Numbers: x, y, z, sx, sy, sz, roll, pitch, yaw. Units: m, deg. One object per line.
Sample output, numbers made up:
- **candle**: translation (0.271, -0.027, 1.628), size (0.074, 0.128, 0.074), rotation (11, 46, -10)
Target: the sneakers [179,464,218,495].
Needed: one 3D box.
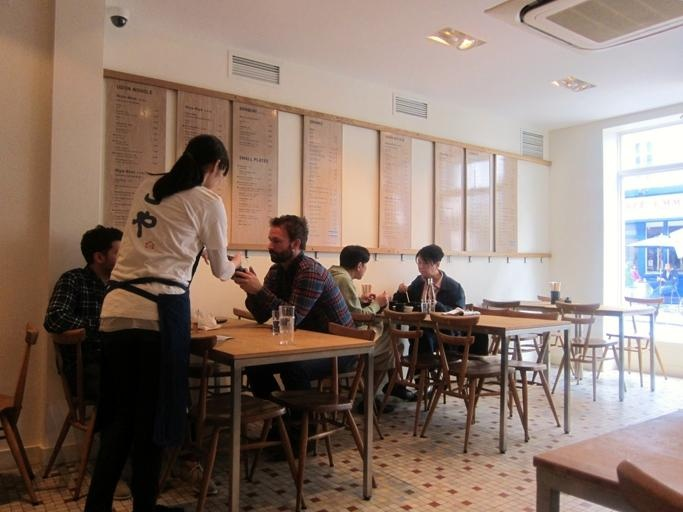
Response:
- **sneakers**: translation (-0.872, 1.382, 3.457), size (0.144, 0.159, 0.431), rotation (7, -9, -37)

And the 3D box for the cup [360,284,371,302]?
- **cup**: translation (0.231, 0.352, 5.120), size (0.119, 0.185, 0.122), rotation (-2, 1, 0)

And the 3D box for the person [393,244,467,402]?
- **person**: translation (0.908, 0.560, 5.490), size (0.710, 1.351, 0.657), rotation (-12, 15, -15)

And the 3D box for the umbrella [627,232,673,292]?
- **umbrella**: translation (3.885, 0.091, 6.775), size (0.595, 0.592, 0.588), rotation (-2, 3, -44)

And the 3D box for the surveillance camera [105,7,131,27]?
- **surveillance camera**: translation (-1.699, -1.824, 4.174), size (0.116, 0.124, 0.144), rotation (0, -7, -21)
